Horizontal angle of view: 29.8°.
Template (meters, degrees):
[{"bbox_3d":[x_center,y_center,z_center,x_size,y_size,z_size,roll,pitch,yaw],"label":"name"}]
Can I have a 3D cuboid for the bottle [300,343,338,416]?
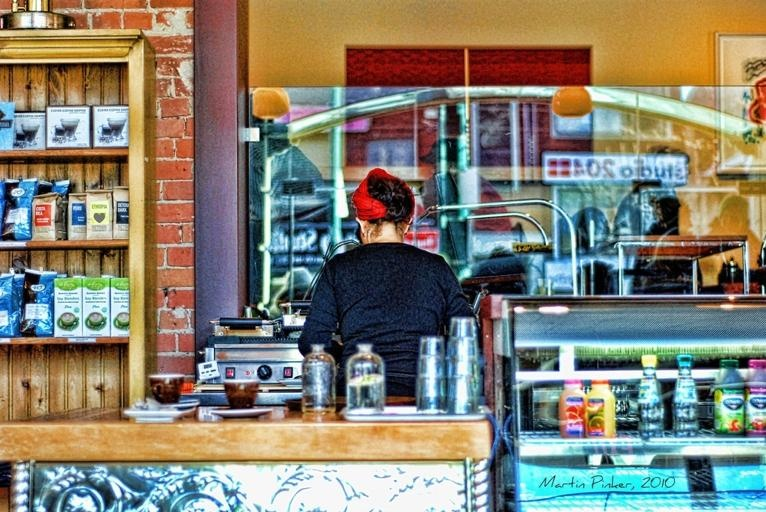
[{"bbox_3d":[-0.304,0.605,6.987,0.157,0.342,0.148,-1,-5,0],"label":"bottle"}]

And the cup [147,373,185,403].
[{"bbox_3d":[-1.063,0.652,7.051,0.151,0.121,0.150,-1,-4,0],"label":"cup"}]

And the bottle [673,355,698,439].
[{"bbox_3d":[1.489,0.694,7.097,0.117,0.396,0.074,-1,-5,6],"label":"bottle"}]

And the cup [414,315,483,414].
[{"bbox_3d":[0.318,0.536,6.962,0.304,0.470,0.174,-1,-5,1],"label":"cup"}]

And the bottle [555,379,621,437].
[{"bbox_3d":[0.990,0.755,7.057,0.301,0.276,0.101,0,-6,4],"label":"bottle"}]

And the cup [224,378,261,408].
[{"bbox_3d":[-0.680,0.671,7.019,0.145,0.106,0.147,-1,-8,0],"label":"cup"}]

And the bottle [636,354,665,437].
[{"bbox_3d":[1.324,0.698,7.088,0.127,0.406,0.080,-1,-5,0],"label":"bottle"}]

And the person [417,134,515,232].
[{"bbox_3d":[0.553,-0.430,9.347,0.734,0.631,0.493,-3,-6,10],"label":"person"}]
